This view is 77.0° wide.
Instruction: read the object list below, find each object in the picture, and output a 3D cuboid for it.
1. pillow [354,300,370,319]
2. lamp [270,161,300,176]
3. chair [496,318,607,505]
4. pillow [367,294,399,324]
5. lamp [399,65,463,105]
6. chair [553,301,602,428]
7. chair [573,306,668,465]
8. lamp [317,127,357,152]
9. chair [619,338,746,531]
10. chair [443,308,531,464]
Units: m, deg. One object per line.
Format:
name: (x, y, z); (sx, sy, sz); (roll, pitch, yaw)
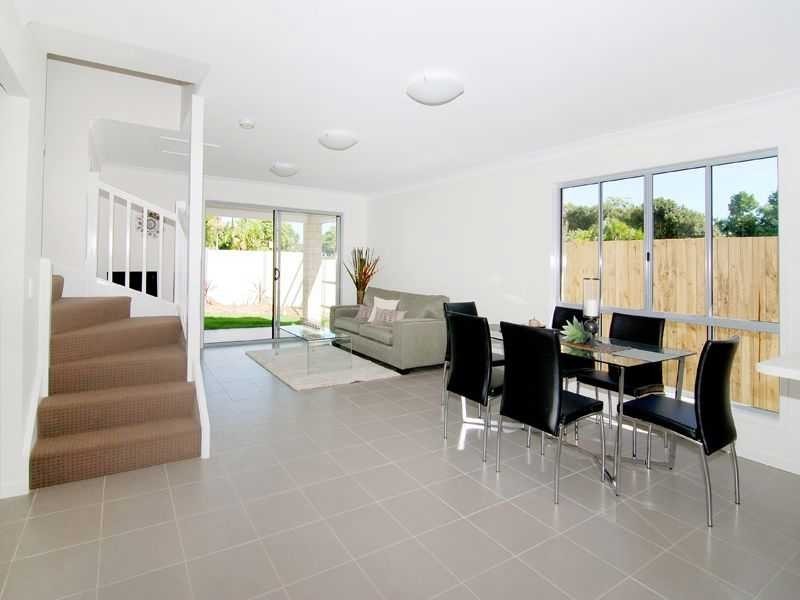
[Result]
pillow: (-0.578, 0.172, 8.038); (0.075, 0.260, 0.253); (23, -9, -30)
lamp: (-1.530, -1.729, 6.611); (0.313, 0.177, 0.488); (-3, 14, -18)
chair: (1.040, 0.735, 3.749); (0.677, 1.147, 0.608); (12, 17, 43)
pillow: (-0.262, 0.148, 7.608); (0.384, 0.394, 0.119); (8, -15, 47)
lamp: (0.290, -1.701, 4.014); (0.478, 0.199, 0.358); (1, 13, 2)
chair: (1.588, 0.632, 4.514); (0.416, 0.632, 0.440); (-16, 11, -9)
chair: (1.908, 0.679, 4.358); (0.589, 1.081, 0.563); (-3, 6, -37)
lamp: (-0.654, -1.698, 5.279); (0.400, 0.177, 0.348); (-1, 13, -10)
chair: (2.035, 0.838, 3.672); (0.589, 1.260, 0.683); (-2, 4, -34)
chair: (0.752, 0.696, 4.427); (0.646, 1.153, 0.643); (-4, 9, -29)
